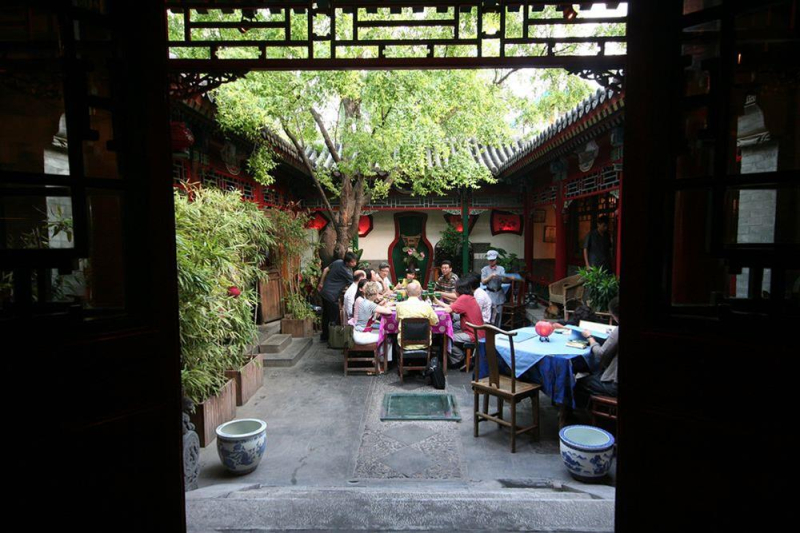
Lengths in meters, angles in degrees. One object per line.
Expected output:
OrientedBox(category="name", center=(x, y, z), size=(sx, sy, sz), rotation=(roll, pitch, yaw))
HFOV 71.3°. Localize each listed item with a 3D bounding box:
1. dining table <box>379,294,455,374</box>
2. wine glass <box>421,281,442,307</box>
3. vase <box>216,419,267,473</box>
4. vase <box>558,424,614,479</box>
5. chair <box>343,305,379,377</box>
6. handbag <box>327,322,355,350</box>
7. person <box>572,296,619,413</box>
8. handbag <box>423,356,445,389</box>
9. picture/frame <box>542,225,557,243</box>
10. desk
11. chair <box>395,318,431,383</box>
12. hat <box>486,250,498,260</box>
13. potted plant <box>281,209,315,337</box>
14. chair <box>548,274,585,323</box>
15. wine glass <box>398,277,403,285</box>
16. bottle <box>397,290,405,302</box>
OrientedBox(category="dining table", center=(0.220, 0.806, 7.101), size=(0.805, 0.828, 1.515), rotation=(0, -39, 6))
OrientedBox(category="wine glass", center=(0.480, 0.432, 8.516), size=(0.211, 0.398, 0.288), rotation=(-2, 2, -37))
OrientedBox(category="vase", center=(-1.330, 1.523, 4.682), size=(0.444, 0.324, 0.425), rotation=(1, 3, -1))
OrientedBox(category="vase", center=(1.501, 1.514, 4.500), size=(0.430, 0.312, 0.432), rotation=(6, 7, 22))
OrientedBox(category="chair", center=(-0.512, 1.072, 7.296), size=(0.597, 1.045, 0.603), rotation=(0, -1, -1))
OrientedBox(category="handbag", center=(-0.743, 0.880, 7.016), size=(0.294, 0.296, 0.153), rotation=(0, 8, 1))
OrientedBox(category="person", center=(1.755, 0.808, 5.002), size=(0.339, 1.251, 1.096), rotation=(2, 8, 19))
OrientedBox(category="handbag", center=(0.386, 1.240, 6.809), size=(0.268, 0.495, 0.462), rotation=(-3, 1, -1))
OrientedBox(category="picture/frame", center=(3.415, -0.754, 12.829), size=(0.246, 0.415, 0.083), rotation=(3, 9, 25))
OrientedBox(category="desk", center=(1.339, 1.000, 5.603), size=(1.180, 0.550, 1.167), rotation=(-5, 11, -39))
OrientedBox(category="chair", center=(0.186, 1.011, 6.960), size=(0.395, 0.819, 0.503), rotation=(0, 8, 1))
OrientedBox(category="hat", center=(1.546, -0.191, 9.485), size=(0.214, 0.141, 0.326), rotation=(-1, 1, 13))
OrientedBox(category="potted plant", center=(-1.760, 0.080, 9.370), size=(0.593, 1.980, 1.090), rotation=(-2, 8, -9))
OrientedBox(category="chair", center=(2.638, 0.488, 8.745), size=(0.588, 0.817, 0.619), rotation=(0, 2, -15))
OrientedBox(category="wine glass", center=(0.051, 0.340, 12.902), size=(0.180, 0.180, 0.095), rotation=(-4, -7, 40))
OrientedBox(category="bottle", center=(-0.006, 0.448, 8.314), size=(0.121, 0.215, 0.114), rotation=(2, 15, 0))
